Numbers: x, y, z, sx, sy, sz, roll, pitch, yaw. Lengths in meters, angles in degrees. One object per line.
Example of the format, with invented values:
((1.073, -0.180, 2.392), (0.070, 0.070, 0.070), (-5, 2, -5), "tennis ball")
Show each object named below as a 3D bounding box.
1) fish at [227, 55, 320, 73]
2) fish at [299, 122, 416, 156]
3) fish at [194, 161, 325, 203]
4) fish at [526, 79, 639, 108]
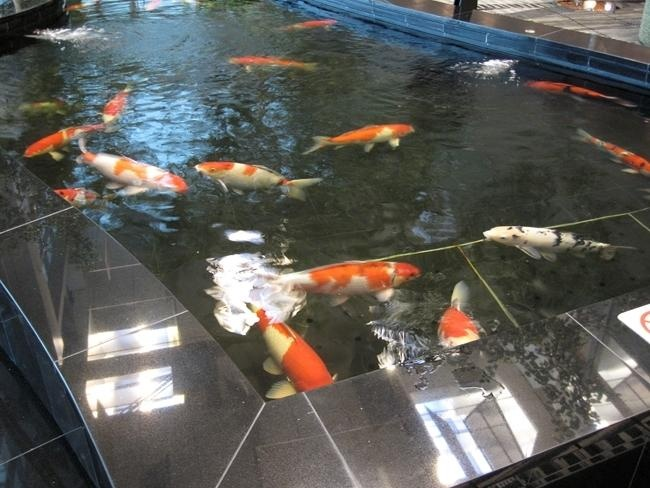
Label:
((-0.433, -1.488, 4.457), (0.715, 0.046, 0.269), (1, 34, -2), "fish")
((0.230, -0.669, 3.561), (0.777, 0.159, 0.185), (-5, 63, -5), "fish")
((-0.406, -0.359, 3.134), (0.730, 0.165, 0.138), (13, 8, 22), "fish")
((1.930, -1.125, 4.041), (0.792, 0.048, 0.201), (17, 37, 22), "fish")
